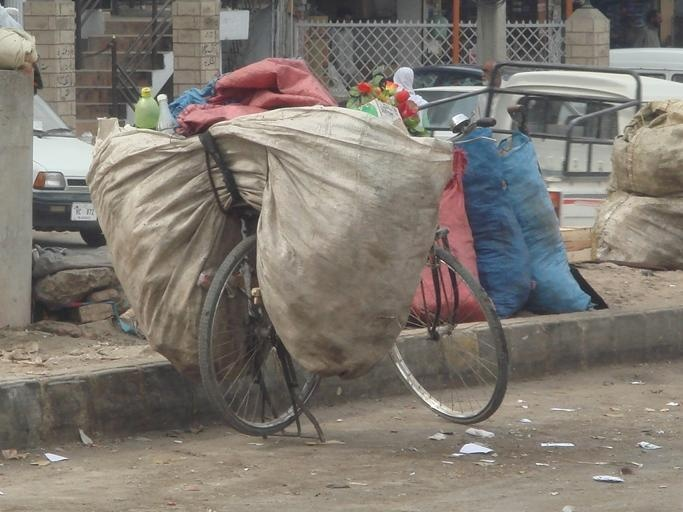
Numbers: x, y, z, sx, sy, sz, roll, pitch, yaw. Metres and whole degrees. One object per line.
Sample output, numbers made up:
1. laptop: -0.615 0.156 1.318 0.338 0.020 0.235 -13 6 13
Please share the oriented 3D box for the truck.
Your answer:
1. truck: 2.443 -1.069 17.677 2.966 1.693 1.671 0 2 -41
